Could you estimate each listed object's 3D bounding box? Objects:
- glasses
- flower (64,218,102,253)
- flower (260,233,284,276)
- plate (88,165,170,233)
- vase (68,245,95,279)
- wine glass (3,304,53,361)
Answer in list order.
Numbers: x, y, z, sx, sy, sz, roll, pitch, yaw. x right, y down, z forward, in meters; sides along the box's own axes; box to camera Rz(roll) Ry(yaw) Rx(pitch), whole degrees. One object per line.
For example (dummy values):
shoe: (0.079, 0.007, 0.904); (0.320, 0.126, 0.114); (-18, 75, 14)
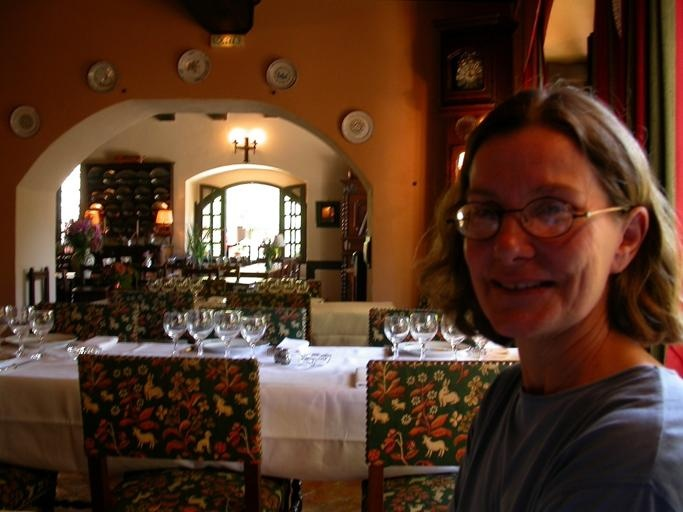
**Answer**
glasses: (0.381, -0.070, 1.167); (0.294, 0.076, 0.101); (-1, 2, 25)
flower: (-2.508, -0.187, 6.070); (0.339, 0.389, 0.349); (3, 1, 10)
flower: (-1.217, -0.008, 10.866); (0.414, 0.631, 0.606); (4, -17, 10)
plate: (-3.837, -1.069, 11.290); (1.281, 1.371, 0.404); (0, 1, 1)
vase: (-3.161, 0.096, 7.573); (0.282, 0.360, 0.302); (-3, 24, -22)
wine glass: (-1.405, 0.357, 2.909); (0.203, 0.266, 0.218); (3, -3, 30)
